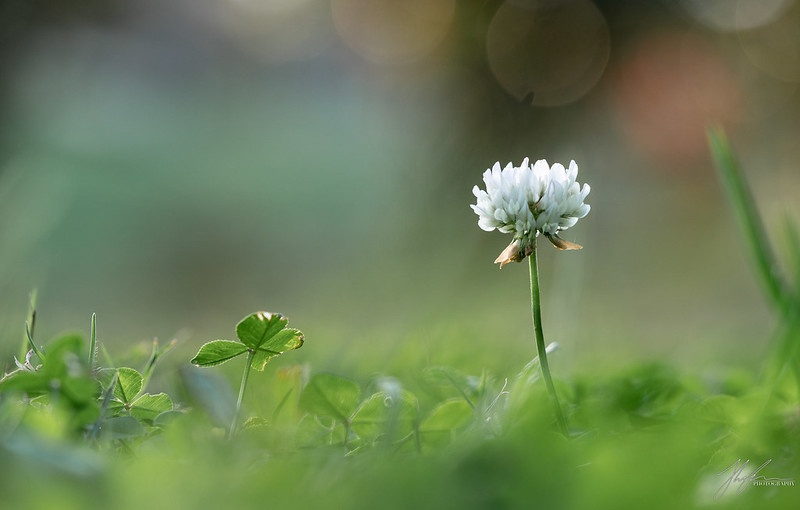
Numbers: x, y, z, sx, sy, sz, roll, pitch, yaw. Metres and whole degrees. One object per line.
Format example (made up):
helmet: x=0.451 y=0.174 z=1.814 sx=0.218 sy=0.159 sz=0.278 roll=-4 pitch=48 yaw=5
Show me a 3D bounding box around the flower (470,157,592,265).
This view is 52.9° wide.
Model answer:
flower: x=0.238 y=-0.082 z=1.468 sx=0.192 sy=0.187 sz=0.198 roll=-4 pitch=-9 yaw=2
